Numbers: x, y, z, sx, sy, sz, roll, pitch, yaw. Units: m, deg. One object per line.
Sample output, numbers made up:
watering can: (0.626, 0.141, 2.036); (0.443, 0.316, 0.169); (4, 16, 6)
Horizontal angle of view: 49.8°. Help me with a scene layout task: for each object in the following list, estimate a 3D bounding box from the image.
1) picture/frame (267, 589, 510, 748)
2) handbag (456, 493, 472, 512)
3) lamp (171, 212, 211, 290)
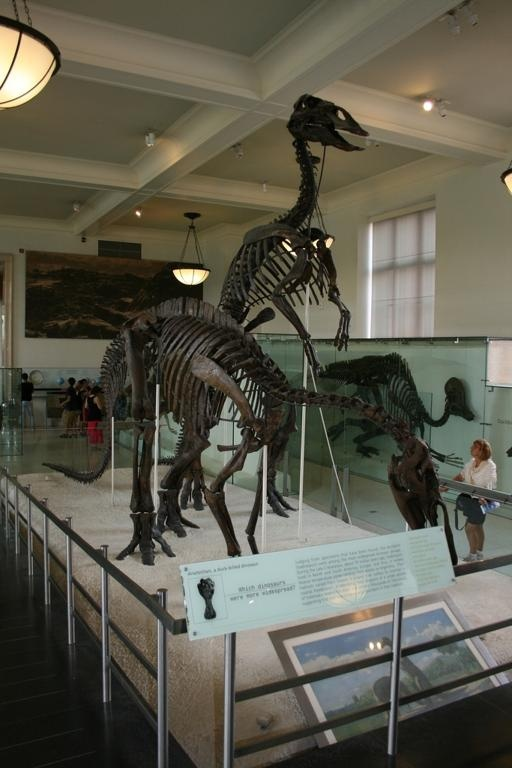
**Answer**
picture/frame: (0.468, 0.995, 1.979); (0.876, 0.466, 0.286); (-3, 5, -31)
handbag: (1.226, 0.700, 3.266); (0.025, 0.102, 0.097); (-7, 32, -33)
lamp: (-1.356, -2.832, 11.500); (0.771, 1.467, 0.755); (0, 2, -34)
